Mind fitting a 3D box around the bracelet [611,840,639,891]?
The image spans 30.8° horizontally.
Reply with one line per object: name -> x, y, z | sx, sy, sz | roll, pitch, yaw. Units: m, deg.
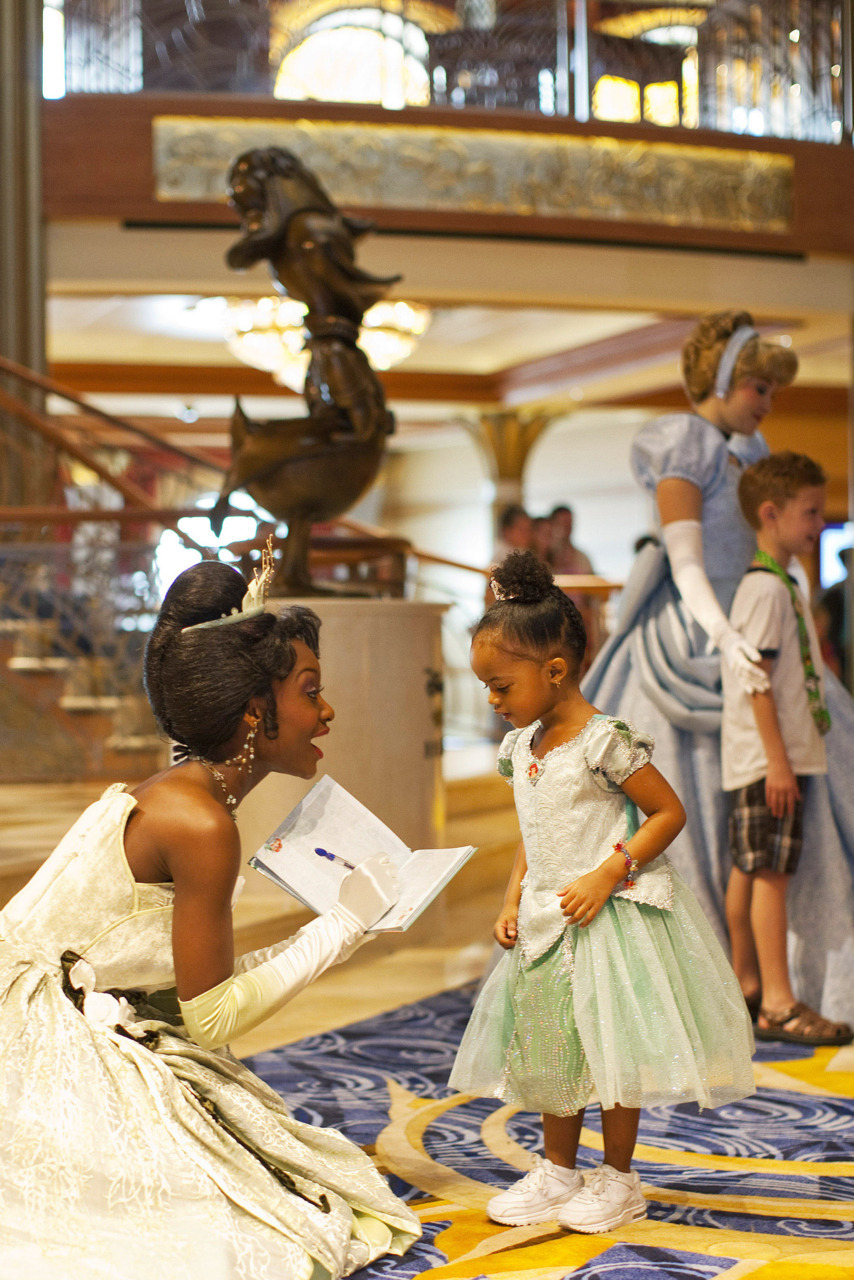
bracelet -> 0.305, 0.347, 2.351 | 0.027, 0.050, 0.064 | -21, 35, -12

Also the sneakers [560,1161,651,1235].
sneakers -> 0.274, 0.855, 2.375 | 0.157, 0.068, 0.068 | -2, -2, -40

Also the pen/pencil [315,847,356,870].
pen/pencil -> -0.144, 0.335, 2.364 | 0.060, 0.011, 0.009 | 26, -4, 11

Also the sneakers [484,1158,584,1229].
sneakers -> 0.168, 0.861, 2.391 | 0.161, 0.075, 0.068 | -12, -2, -20

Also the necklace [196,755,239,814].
necklace -> -0.304, 0.204, 2.215 | 0.014, 0.133, 0.034 | -23, 33, -9

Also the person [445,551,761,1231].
person -> 0.260, 0.300, 2.422 | 0.416, 0.869, 0.300 | 1, 2, 41

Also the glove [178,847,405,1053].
glove -> -0.196, 0.454, 2.230 | 0.323, 0.086, 0.236 | -33, 12, -21
